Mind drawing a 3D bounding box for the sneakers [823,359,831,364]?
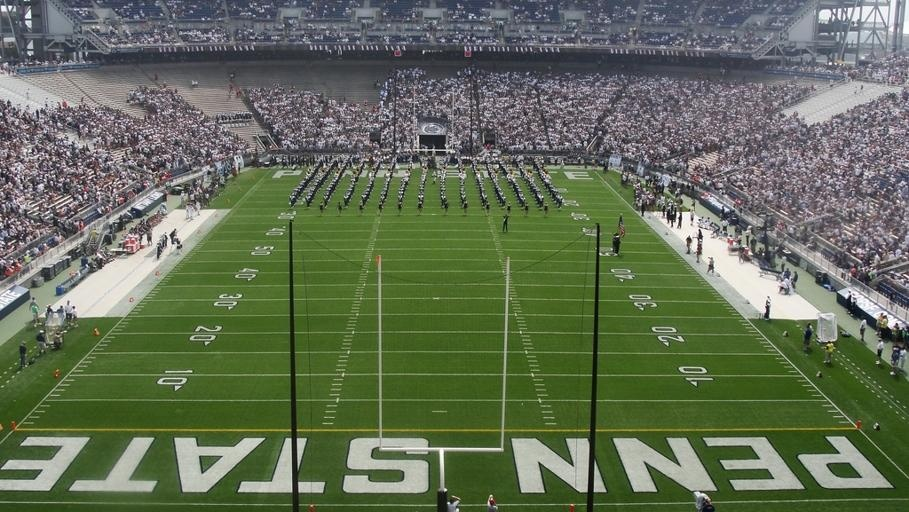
[{"bbox_3d":[16.178,4.572,34.967,0.302,0.313,0.194,-1,0,1],"label":"sneakers"}]

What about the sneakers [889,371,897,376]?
[{"bbox_3d":[18.768,5.003,34.366,0.112,0.106,0.258,11,24,34],"label":"sneakers"}]

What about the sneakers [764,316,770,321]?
[{"bbox_3d":[14.652,2.928,37.773,0.201,0.198,0.203,0,17,25],"label":"sneakers"}]
